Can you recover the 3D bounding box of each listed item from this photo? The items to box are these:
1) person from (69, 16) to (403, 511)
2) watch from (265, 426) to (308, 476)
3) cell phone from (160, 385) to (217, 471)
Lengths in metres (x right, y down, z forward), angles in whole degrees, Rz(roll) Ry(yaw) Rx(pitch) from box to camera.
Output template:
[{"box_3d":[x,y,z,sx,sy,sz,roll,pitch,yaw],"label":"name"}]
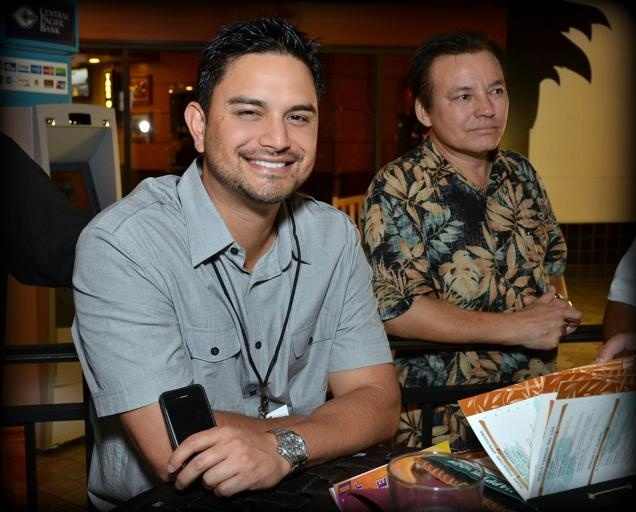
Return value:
[{"box_3d":[-0.204,-0.072,1.510,0.691,1.231,0.833,5,10,43],"label":"person"},{"box_3d":[-0.064,0.456,1.244,0.064,0.089,0.094,-18,56,-41],"label":"watch"},{"box_3d":[-0.313,0.390,1.204,0.156,0.181,0.092,3,9,33],"label":"cell phone"}]
